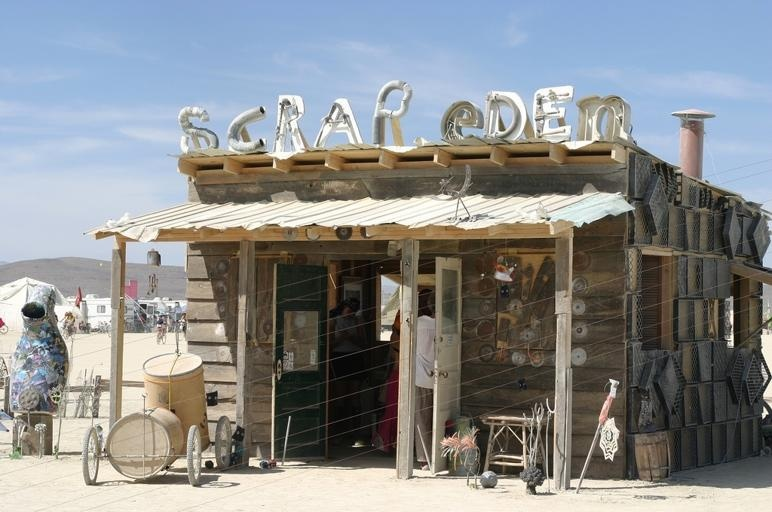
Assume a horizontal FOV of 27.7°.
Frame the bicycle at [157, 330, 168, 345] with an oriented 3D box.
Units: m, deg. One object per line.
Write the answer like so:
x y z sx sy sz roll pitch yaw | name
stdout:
-8.317 3.079 58.085 0.442 0.468 0.840 0 -5 -5 | bicycle

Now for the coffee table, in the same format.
2.027 3.483 28.576 1.246 0.868 1.158 9 -8 9 | coffee table

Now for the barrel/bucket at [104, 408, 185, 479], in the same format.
-4.262 3.319 27.535 1.335 1.192 0.491 0 -7 -10 | barrel/bucket

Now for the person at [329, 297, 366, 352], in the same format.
-0.758 1.484 31.396 0.662 1.071 1.635 -1 -6 -1 | person
